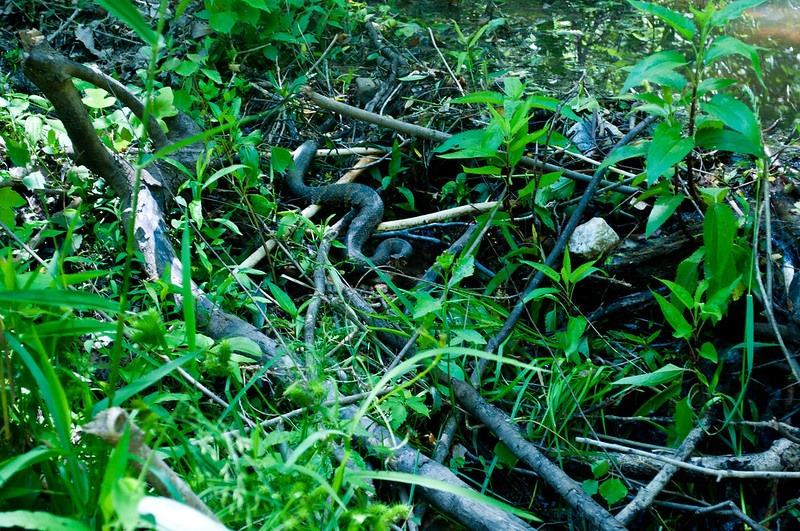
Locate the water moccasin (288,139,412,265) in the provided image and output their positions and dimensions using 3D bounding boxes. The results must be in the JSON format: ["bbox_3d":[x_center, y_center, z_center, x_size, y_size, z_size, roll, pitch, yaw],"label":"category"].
[{"bbox_3d":[-0.340,-0.385,4.714,1.119,0.171,0.447,42,47,18],"label":"water moccasin"}]
